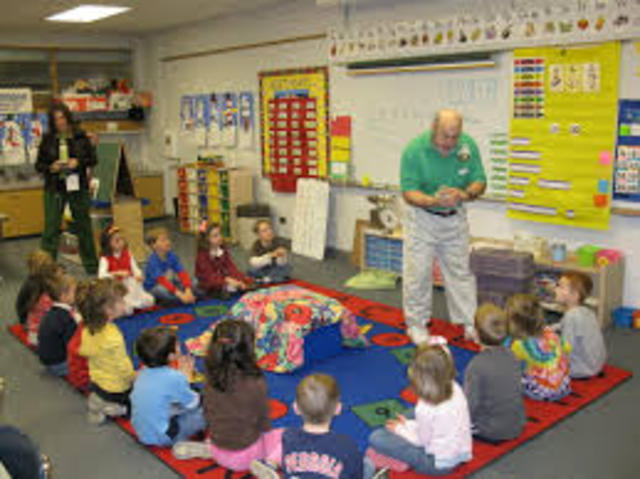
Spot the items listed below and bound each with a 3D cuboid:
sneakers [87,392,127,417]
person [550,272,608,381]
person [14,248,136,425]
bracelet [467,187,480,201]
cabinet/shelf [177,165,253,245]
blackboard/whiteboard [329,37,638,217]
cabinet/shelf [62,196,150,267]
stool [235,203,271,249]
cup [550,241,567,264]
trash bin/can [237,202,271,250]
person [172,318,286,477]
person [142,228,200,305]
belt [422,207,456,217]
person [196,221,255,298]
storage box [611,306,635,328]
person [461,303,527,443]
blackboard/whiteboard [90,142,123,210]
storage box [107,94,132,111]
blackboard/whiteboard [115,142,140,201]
[{"bbox_3d":[-1.354,1.091,3.358,0.320,0.110,0.128,8,-18,3],"label":"sneakers"},{"bbox_3d":[1.816,0.634,3.743,0.460,0.807,0.366,8,11,42],"label":"person"},{"bbox_3d":[-1.661,0.650,3.639,0.706,1.129,0.786,7,11,24],"label":"person"},{"bbox_3d":[1.230,-0.368,4.123,0.094,0.096,0.094,-15,26,-41],"label":"bracelet"},{"bbox_3d":[-1.553,-0.550,7.666,1.054,0.924,0.438,14,21,42],"label":"cabinet/shelf"},{"bbox_3d":[1.675,-1.130,4.922,2.107,1.062,0.156,6,7,44],"label":"blackboard/whiteboard"},{"bbox_3d":[-3.093,-0.274,7.259,0.758,1.441,1.432,-4,7,-39],"label":"cabinet/shelf"},{"bbox_3d":[-0.985,-0.199,7.463,0.593,0.693,0.613,0,9,1],"label":"stool"},{"bbox_3d":[2.222,0.121,4.771,0.153,0.169,0.150,0,11,0],"label":"cup"},{"bbox_3d":[-1.029,-0.216,7.563,0.584,0.682,0.603,2,8,17],"label":"trash bin/can"},{"bbox_3d":[-0.416,0.872,2.660,0.409,0.848,0.371,-3,14,-6],"label":"person"},{"bbox_3d":[-1.610,0.293,5.325,0.591,0.763,0.538,2,12,9],"label":"person"},{"bbox_3d":[0.989,-0.224,4.170,0.259,0.074,0.065,1,14,10],"label":"belt"},{"bbox_3d":[-1.070,0.203,5.554,0.595,0.776,0.645,-10,12,-41],"label":"person"},{"bbox_3d":[2.699,0.676,4.510,0.159,0.124,0.162,6,19,30],"label":"storage box"},{"bbox_3d":[1.024,0.791,2.934,0.404,0.803,0.246,-1,14,5],"label":"person"},{"bbox_3d":[-2.908,-0.849,6.901,0.285,0.850,0.821,-2,12,-31],"label":"blackboard/whiteboard"},{"bbox_3d":[-3.614,-2.503,9.161,0.101,0.279,0.425,8,18,36],"label":"storage box"},{"bbox_3d":[-2.698,-0.926,6.915,0.484,0.752,0.191,8,17,34],"label":"blackboard/whiteboard"}]
